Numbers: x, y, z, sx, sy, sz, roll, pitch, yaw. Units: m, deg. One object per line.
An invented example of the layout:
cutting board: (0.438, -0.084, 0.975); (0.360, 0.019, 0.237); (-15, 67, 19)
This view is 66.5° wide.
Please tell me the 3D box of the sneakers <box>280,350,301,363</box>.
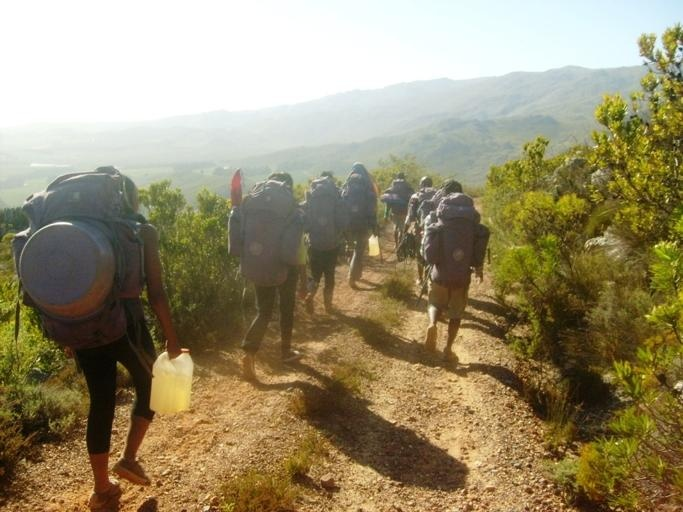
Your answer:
sneakers: (-0.767, 1.505, 7.894); (0.136, 0.242, 0.308); (3, 12, 37)

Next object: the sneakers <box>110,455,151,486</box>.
sneakers: (-2.056, 2.140, 5.215); (0.187, 0.447, 0.212); (-27, 32, 33)

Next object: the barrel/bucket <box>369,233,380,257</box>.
barrel/bucket: (0.757, -0.218, 12.241); (0.313, 0.550, 0.472); (5, 25, 12)

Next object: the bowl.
bowl: (-2.412, 0.115, 4.547); (0.748, 0.893, 0.296); (-17, -2, -8)

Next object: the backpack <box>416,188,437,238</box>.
backpack: (1.775, -0.934, 10.613); (0.293, 0.936, 0.619); (17, -21, -28)

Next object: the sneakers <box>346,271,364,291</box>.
sneakers: (0.261, 0.605, 12.379); (0.256, 0.426, 0.140); (-3, 0, -16)
